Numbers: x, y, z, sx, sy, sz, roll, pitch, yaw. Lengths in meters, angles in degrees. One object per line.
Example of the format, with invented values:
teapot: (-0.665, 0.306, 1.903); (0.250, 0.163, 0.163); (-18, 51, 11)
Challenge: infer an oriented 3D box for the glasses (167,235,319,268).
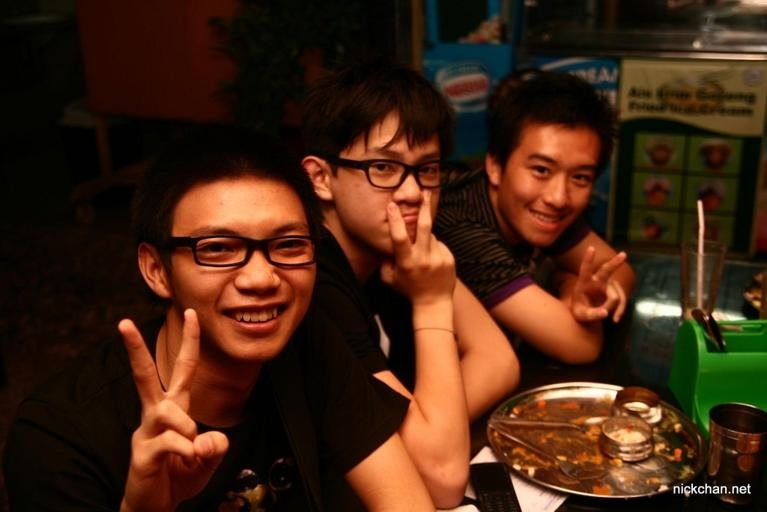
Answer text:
glasses: (-0.319, -0.012, 1.356); (0.336, 0.084, 0.064); (-3, 10, -13)
